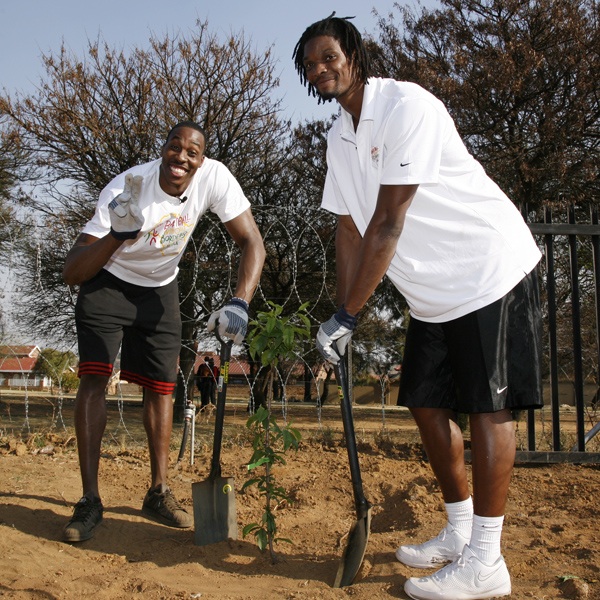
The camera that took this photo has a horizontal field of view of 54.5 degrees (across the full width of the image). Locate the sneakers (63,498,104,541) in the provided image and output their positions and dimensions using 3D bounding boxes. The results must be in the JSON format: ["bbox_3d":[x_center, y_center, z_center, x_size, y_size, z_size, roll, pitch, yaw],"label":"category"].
[{"bbox_3d":[-1.100,1.118,2.966,0.123,0.174,0.287,2,-5,-7],"label":"sneakers"}]

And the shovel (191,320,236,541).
[{"bbox_3d":[-0.436,0.715,3.064,0.227,1.019,0.292,2,-5,-8],"label":"shovel"}]

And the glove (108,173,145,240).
[{"bbox_3d":[-0.844,-0.455,2.844,0.163,0.316,0.210,3,-5,-19],"label":"glove"}]

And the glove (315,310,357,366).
[{"bbox_3d":[0.146,0.163,2.593,0.095,0.235,0.141,-19,48,-42],"label":"glove"}]

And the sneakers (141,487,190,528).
[{"bbox_3d":[-0.779,1.169,3.365,0.369,0.168,0.132,6,6,40],"label":"sneakers"}]

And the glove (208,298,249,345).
[{"bbox_3d":[-0.350,0.113,3.148,0.196,0.117,0.269,9,31,44],"label":"glove"}]
